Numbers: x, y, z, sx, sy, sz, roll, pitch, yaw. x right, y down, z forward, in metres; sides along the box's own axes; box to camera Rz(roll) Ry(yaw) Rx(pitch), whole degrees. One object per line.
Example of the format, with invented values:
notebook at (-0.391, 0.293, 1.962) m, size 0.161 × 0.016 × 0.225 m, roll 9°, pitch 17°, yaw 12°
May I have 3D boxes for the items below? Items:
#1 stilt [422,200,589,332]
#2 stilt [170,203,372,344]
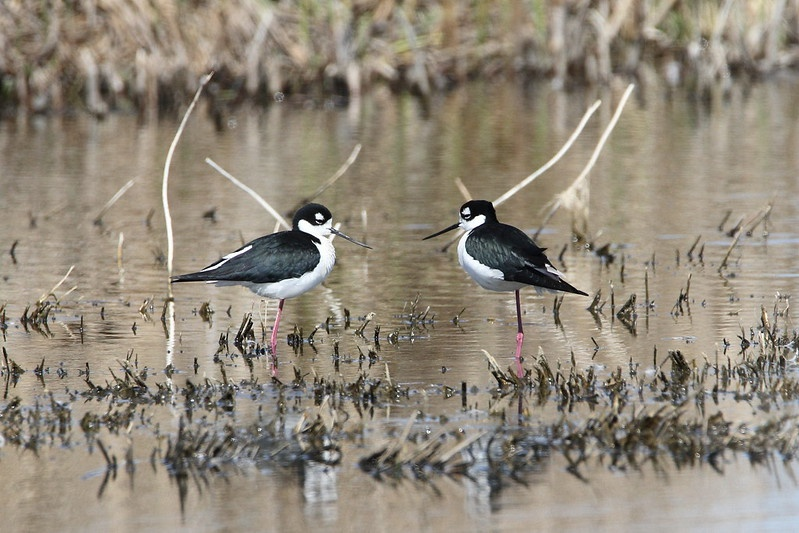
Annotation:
stilt at (0.896, -0.078, 9.458) m, size 1.525 × 0.561 × 0.973 m, roll 4°, pitch 96°, yaw 31°
stilt at (-1.141, 0.055, 9.577) m, size 1.824 × 0.665 × 1.173 m, roll -6°, pitch 103°, yaw -22°
